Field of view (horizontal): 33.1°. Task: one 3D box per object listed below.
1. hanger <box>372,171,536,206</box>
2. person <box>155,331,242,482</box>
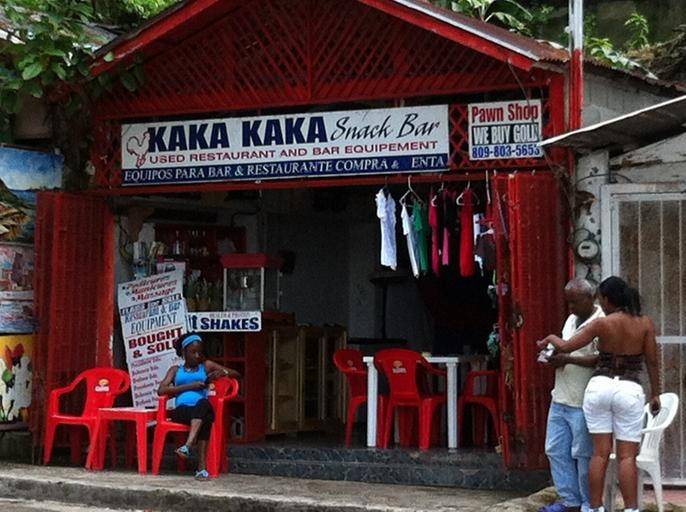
[{"bbox_3d":[1.371,-0.843,13.700,1.454,0.471,0.686,0,3,29],"label":"hanger"},{"bbox_3d":[-1.670,1.640,12.748,0.580,1.562,0.695,-3,-3,33],"label":"person"}]
